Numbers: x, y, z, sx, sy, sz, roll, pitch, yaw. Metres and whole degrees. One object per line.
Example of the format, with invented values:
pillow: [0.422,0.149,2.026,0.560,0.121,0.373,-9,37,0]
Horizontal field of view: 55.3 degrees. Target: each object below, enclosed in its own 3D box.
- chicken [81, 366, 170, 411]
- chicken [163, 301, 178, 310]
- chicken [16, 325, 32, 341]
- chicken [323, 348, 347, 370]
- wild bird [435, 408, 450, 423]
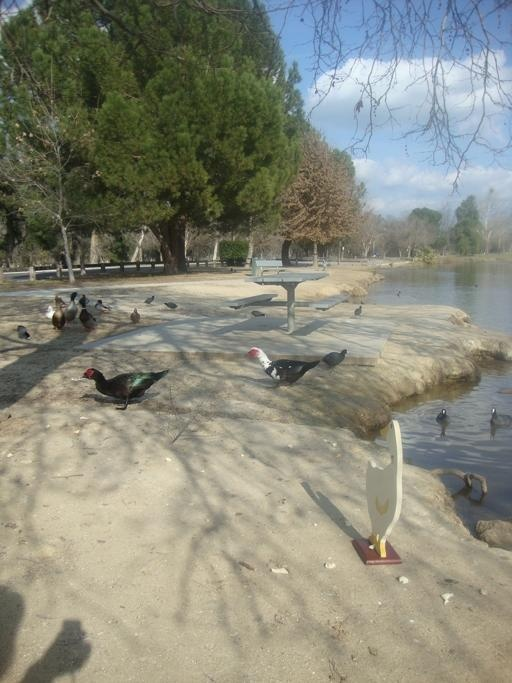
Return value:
chicken: [-1.634,0.578,6.125,0.943,0.492,0.556,3,10,-3]
chicken: [-2.813,-1.177,15.927,0.444,0.218,0.285,15,34,-21]
chicken: [-4.745,-0.163,9.939,0.410,0.215,0.786,-3,12,-20]
chicken: [1.381,0.367,8.576,0.403,0.282,0.462,-11,13,21]
wild bird: [3.185,1.274,8.314,0.165,0.200,0.266,-4,2,9]
